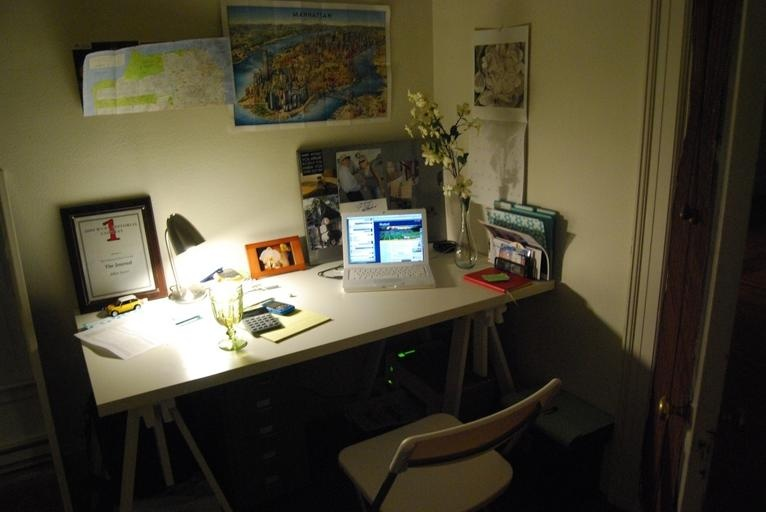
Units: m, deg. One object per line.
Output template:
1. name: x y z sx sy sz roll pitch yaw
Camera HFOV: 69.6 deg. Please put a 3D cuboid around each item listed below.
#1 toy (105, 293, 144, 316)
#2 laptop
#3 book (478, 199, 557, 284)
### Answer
1. toy: -1.216 0.227 2.581 0.135 0.063 0.084 -13 25 -33
2. laptop: 0.021 -0.033 2.707 0.448 0.289 0.371 -3 18 -5
3. book: 0.676 -0.068 2.707 0.120 0.313 0.330 -14 25 -31
